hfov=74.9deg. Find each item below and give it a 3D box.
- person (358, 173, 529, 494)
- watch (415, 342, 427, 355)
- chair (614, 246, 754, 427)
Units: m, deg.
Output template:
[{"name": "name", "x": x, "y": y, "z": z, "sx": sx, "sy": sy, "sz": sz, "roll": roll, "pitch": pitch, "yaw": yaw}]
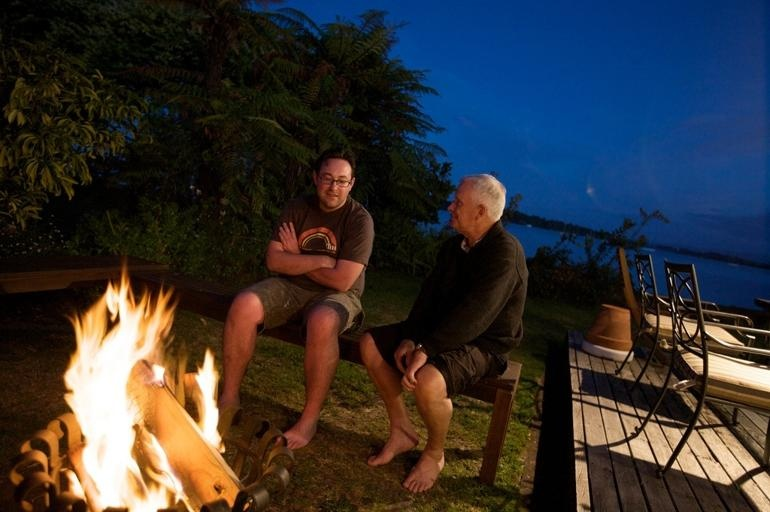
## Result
[{"name": "person", "x": 0.566, "y": 0.667, "z": 4.594, "sx": 1.253, "sy": 2.826, "sz": 0.647, "roll": 13, "pitch": 3, "yaw": 16}, {"name": "watch", "x": 0.313, "y": 0.831, "z": 4.460, "sx": 0.069, "sy": 0.095, "sz": 0.055, "roll": -8, "pitch": 4, "yaw": 8}, {"name": "chair", "x": 3.918, "y": 0.717, "z": 6.952, "sx": 1.835, "sy": 2.682, "sz": 1.624, "roll": -2, "pitch": 11, "yaw": 0}]
